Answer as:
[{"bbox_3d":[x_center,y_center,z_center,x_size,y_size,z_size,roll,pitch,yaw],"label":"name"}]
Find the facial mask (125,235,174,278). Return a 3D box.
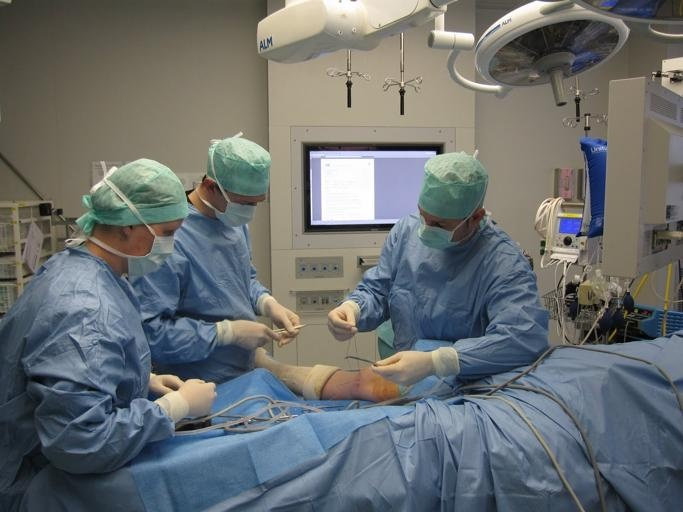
[{"bbox_3d":[-0.714,0.001,2.697,0.147,0.125,0.143,26,11,1],"label":"facial mask"}]

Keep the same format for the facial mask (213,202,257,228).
[{"bbox_3d":[-0.449,-0.180,3.080,0.111,0.089,0.111,41,19,16],"label":"facial mask"}]

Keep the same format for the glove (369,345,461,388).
[{"bbox_3d":[0.310,0.438,2.886,0.400,0.152,0.145,-3,-33,5],"label":"glove"}]

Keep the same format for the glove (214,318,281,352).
[{"bbox_3d":[-0.397,0.339,3.041,0.266,0.131,0.077,-2,3,-13],"label":"glove"}]
